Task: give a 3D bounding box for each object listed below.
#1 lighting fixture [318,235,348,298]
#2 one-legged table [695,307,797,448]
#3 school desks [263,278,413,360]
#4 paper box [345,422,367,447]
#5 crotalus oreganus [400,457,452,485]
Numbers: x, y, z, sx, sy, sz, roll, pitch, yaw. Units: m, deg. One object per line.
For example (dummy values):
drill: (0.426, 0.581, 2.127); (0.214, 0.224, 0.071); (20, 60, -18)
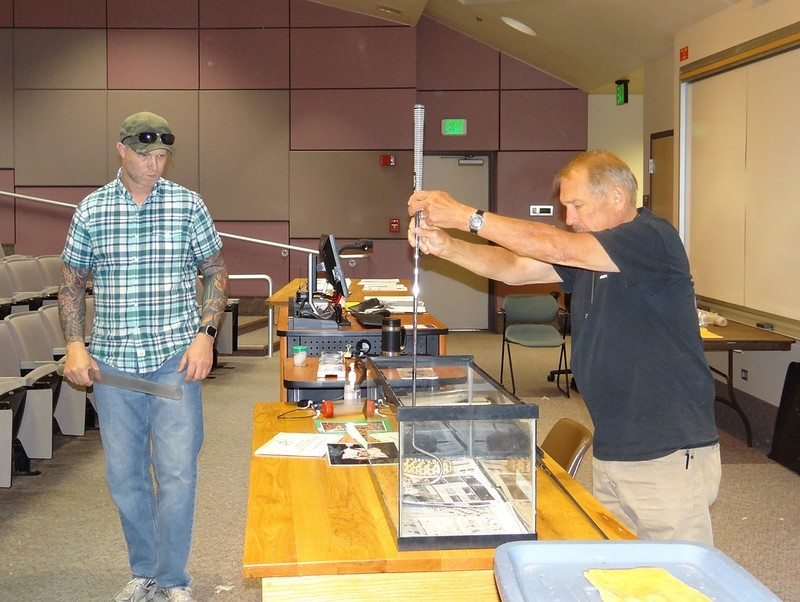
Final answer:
lighting fixture: (-0.410, -0.198, 4.258); (0.162, 0.413, 0.489); (0, 10, -6)
one-legged table: (2.418, 0.467, 4.964); (0.665, 1.036, 0.841); (6, 5, 3)
school desks: (-0.835, -0.039, 6.472); (1.196, 1.104, 2.407); (0, 3, -7)
paper box: (-0.160, 0.497, 2.602); (0.035, 0.023, 0.165); (-10, 23, -17)
crotalus oreganus: (0.066, 0.431, 1.769); (0.092, 0.093, 0.023); (19, 3, -9)
